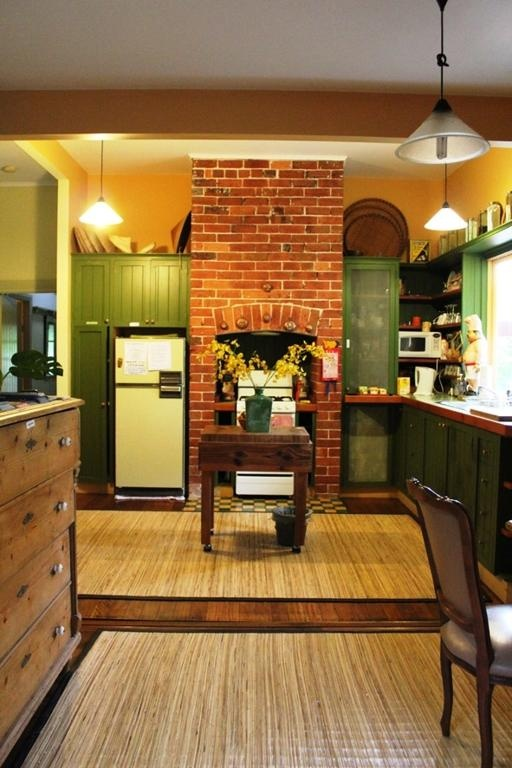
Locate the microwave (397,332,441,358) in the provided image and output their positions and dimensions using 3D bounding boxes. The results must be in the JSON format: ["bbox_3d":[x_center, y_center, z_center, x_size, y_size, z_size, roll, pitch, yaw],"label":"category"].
[{"bbox_3d":[1.457,-0.352,4.907,0.351,0.258,0.223,0,0,1],"label":"microwave"}]

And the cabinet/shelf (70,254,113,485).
[{"bbox_3d":[-1.473,-0.115,4.911,0.377,2.027,0.106,1,3,14],"label":"cabinet/shelf"}]

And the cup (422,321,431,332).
[{"bbox_3d":[1.571,-0.537,5.085,0.075,0.106,0.102,1,-2,8],"label":"cup"}]

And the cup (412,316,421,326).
[{"bbox_3d":[1.512,-0.604,5.215,0.085,0.111,0.091,0,-2,0],"label":"cup"}]

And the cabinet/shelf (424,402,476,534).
[{"bbox_3d":[1.047,0.410,2.933,0.200,0.601,0.605,1,2,1],"label":"cabinet/shelf"}]

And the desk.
[{"bbox_3d":[0.010,0.648,3.676,0.758,0.934,0.669,0,2,1],"label":"desk"}]

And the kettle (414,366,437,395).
[{"bbox_3d":[1.452,-0.035,4.736,0.208,0.293,0.185,3,3,16],"label":"kettle"}]

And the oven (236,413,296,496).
[{"bbox_3d":[0.086,0.527,4.895,0.729,0.815,0.549,0,-3,1],"label":"oven"}]

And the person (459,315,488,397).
[{"bbox_3d":[1.621,-0.222,4.090,0.153,0.584,0.795,1,3,22],"label":"person"}]

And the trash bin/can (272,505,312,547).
[{"bbox_3d":[0.217,0.875,3.510,0.221,0.220,0.238,1,-4,3],"label":"trash bin/can"}]

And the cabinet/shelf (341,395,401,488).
[{"bbox_3d":[0.997,0.556,4.919,0.616,1.045,0.623,0,4,3],"label":"cabinet/shelf"}]

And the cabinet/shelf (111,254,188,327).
[{"bbox_3d":[-0.908,-0.852,4.849,0.557,0.553,0.236,0,1,2],"label":"cabinet/shelf"}]
